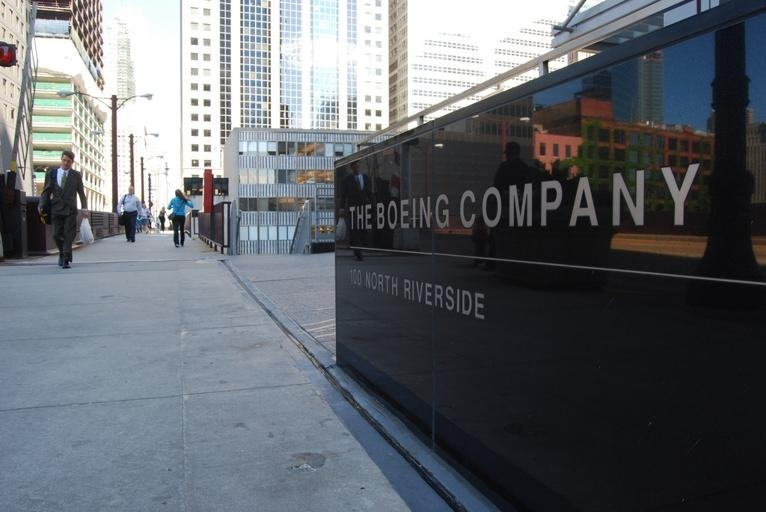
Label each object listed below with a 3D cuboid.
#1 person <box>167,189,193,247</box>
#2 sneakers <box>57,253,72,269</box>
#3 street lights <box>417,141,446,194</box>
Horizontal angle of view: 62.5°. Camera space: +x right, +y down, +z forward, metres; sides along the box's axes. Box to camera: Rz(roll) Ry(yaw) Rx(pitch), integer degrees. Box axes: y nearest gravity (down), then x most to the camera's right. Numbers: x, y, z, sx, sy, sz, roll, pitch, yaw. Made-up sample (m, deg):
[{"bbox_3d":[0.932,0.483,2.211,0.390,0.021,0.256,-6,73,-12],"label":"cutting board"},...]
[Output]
[{"bbox_3d":[-7.335,-1.361,22.656,0.876,2.082,0.727,-3,8,-39],"label":"person"},{"bbox_3d":[-6.350,0.111,12.556,0.193,0.290,0.091,-4,0,29],"label":"sneakers"},{"bbox_3d":[0.298,-0.546,3.874,0.066,0.345,0.337,-1,7,-14],"label":"street lights"}]
